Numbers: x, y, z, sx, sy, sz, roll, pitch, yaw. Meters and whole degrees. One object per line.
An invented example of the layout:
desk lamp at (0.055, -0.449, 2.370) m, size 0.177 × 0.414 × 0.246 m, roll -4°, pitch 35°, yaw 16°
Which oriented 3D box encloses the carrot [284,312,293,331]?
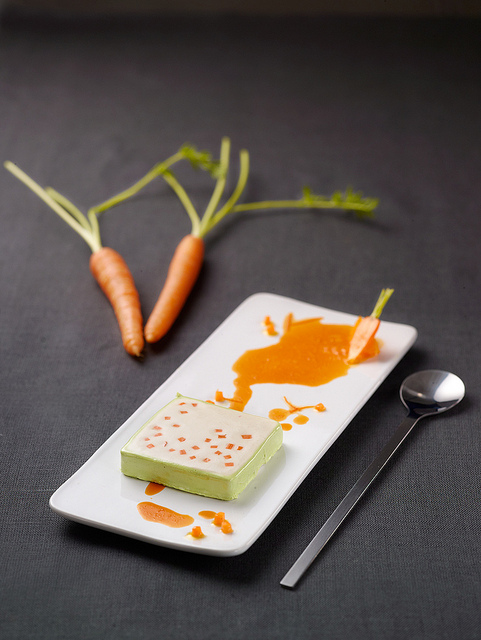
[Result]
carrot at (0.079, 0.003, 1.081) m, size 0.011 × 0.006 × 0.030 m, roll 12°, pitch 49°, yaw 16°

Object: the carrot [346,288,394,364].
carrot at (0.220, 0.010, 1.041) m, size 0.048 × 0.031 × 0.147 m, roll 4°, pitch 50°, yaw 52°

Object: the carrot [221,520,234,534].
carrot at (-0.015, 0.216, 0.695) m, size 0.012 × 0.008 × 0.020 m, roll -7°, pitch 39°, yaw -15°

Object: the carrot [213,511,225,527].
carrot at (-0.023, 0.211, 0.700) m, size 0.011 × 0.009 × 0.010 m, roll 4°, pitch 30°, yaw 1°

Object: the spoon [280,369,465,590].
spoon at (0.190, 0.173, 0.797) m, size 0.091 × 0.028 × 0.415 m, roll 18°, pitch 33°, yaw 21°
